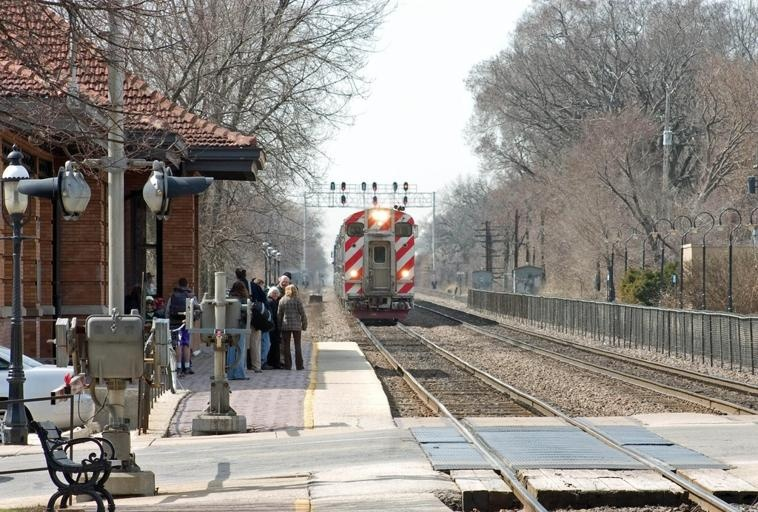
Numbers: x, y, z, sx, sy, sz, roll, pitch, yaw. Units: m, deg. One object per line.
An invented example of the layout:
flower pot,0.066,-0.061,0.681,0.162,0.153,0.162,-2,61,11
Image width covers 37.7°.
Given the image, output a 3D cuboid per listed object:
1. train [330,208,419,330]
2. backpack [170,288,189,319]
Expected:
train,0.001,0.264,42.702,2.687,4.140,1.134,-1,-2,6
backpack,-4.640,1.142,25.906,0.488,0.757,0.392,6,-24,-14
